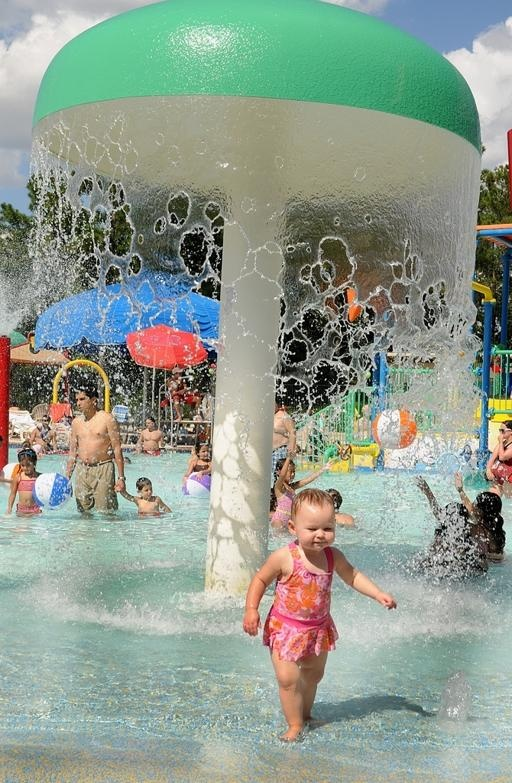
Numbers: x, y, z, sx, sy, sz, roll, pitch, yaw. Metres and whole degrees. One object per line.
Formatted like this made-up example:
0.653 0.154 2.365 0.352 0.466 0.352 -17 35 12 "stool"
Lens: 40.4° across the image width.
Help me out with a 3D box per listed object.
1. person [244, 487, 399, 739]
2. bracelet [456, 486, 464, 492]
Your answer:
0.193 0.713 2.318 0.482 0.763 0.403 3 -4 -7 "person"
1.411 0.664 4.811 0.041 0.058 0.021 8 -22 -11 "bracelet"
